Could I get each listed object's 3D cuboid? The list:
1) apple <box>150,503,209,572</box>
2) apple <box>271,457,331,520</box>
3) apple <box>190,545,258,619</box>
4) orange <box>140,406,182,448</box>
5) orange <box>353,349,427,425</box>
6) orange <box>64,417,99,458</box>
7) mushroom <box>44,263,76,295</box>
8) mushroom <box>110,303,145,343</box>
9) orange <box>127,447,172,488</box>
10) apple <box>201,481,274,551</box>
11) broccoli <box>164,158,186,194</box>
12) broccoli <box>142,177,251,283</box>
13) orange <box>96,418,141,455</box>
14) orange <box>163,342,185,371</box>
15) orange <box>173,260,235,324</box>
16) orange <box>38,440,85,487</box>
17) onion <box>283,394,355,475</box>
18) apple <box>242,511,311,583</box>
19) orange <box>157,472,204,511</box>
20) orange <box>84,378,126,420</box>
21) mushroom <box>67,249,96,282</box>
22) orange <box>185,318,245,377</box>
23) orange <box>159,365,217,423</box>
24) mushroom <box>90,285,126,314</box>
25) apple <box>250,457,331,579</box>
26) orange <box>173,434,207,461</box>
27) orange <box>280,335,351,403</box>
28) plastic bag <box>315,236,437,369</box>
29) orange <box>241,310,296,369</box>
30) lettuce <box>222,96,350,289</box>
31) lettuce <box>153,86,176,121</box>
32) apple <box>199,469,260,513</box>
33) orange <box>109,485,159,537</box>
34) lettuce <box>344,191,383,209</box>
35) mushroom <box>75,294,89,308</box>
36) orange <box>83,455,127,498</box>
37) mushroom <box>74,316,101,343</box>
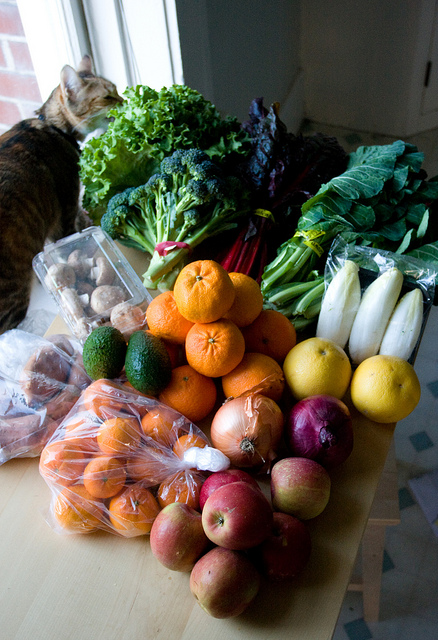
[{"bbox_3d":[-0.047,0.268,0.632,0.076,0.075,0.071,7,-3,-13],"label":"apple"},{"bbox_3d":[0.105,0.220,0.666,0.077,0.092,0.068,-9,35,-1],"label":"apple"},{"bbox_3d":[0.004,0.284,0.583,0.063,0.064,0.074,34,60,-2],"label":"apple"},{"bbox_3d":[-0.073,0.150,0.731,0.054,0.064,0.053,-1,47,4],"label":"orange"},{"bbox_3d":[0.247,0.102,0.779,0.110,0.102,0.102,0,16,-9],"label":"orange"},{"bbox_3d":[-0.183,0.153,0.693,0.048,0.047,0.056,2,53,-18],"label":"orange"},{"bbox_3d":[-0.286,-0.077,0.932,0.053,0.035,0.064,-29,40,-27],"label":"mushroom"},{"bbox_3d":[-0.152,0.000,0.850,0.050,0.036,0.064,0,70,6],"label":"mushroom"},{"bbox_3d":[-0.093,0.194,0.690,0.056,0.031,0.049,20,67,-12],"label":"orange"},{"bbox_3d":[0.023,0.221,0.599,0.065,0.076,0.064,16,3,5],"label":"apple"},{"bbox_3d":[-0.083,-0.272,0.975,0.030,0.064,0.032,16,42,31],"label":"broccoli"},{"bbox_3d":[-0.030,-0.185,1.023,0.123,0.095,0.244,17,57,46],"label":"broccoli"},{"bbox_3d":[-0.141,0.164,0.720,0.049,0.045,0.054,13,46,-5],"label":"orange"},{"bbox_3d":[-0.080,0.058,0.830,0.035,0.036,0.042,-15,67,32],"label":"orange"},{"bbox_3d":[-0.023,-0.044,0.746,0.096,0.088,0.093,-10,20,-29],"label":"orange"},{"bbox_3d":[-0.207,0.190,0.675,0.063,0.059,0.063,7,59,-14],"label":"orange"},{"bbox_3d":[0.135,0.154,0.702,0.090,0.082,0.072,-4,35,7],"label":"onion"},{"bbox_3d":[0.073,0.279,0.628,0.078,0.075,0.079,-7,25,2],"label":"apple"},{"bbox_3d":[-0.051,0.227,0.677,0.046,0.046,0.045,3,70,-8],"label":"orange"},{"bbox_3d":[-0.169,0.115,0.747,0.053,0.049,0.052,-5,78,-20],"label":"orange"},{"bbox_3d":[-0.255,-0.104,0.951,0.021,0.057,0.056,-32,65,20],"label":"mushroom"},{"bbox_3d":[-0.007,0.038,0.774,0.081,0.079,0.080,27,83,11],"label":"orange"},{"bbox_3d":[-0.047,0.107,0.752,0.082,0.078,0.079,-2,42,-5],"label":"orange"},{"bbox_3d":[-0.196,-0.039,0.892,0.052,0.026,0.051,-4,42,1],"label":"mushroom"},{"bbox_3d":[0.096,0.236,0.636,0.058,0.081,0.140,33,49,-27],"label":"apple"},{"bbox_3d":[-0.039,0.172,0.708,0.035,0.042,0.035,0,8,-6],"label":"orange"},{"bbox_3d":[0.162,0.083,0.772,0.075,0.071,0.075,2,13,25],"label":"orange"},{"bbox_3d":[0.262,-0.028,0.856,0.186,0.161,0.190,4,37,17],"label":"plastic bag"},{"bbox_3d":[0.082,0.024,0.861,0.086,0.085,0.084,-14,26,4],"label":"orange"},{"bbox_3d":[0.104,-0.269,1.173,0.129,0.461,0.260,30,39,-4],"label":"lettuce"},{"bbox_3d":[-0.110,-0.437,1.041,0.041,0.049,0.096,-3,35,7],"label":"lettuce"},{"bbox_3d":[0.019,0.204,0.649,0.057,0.057,0.055,5,44,-4],"label":"apple"},{"bbox_3d":[-0.106,0.244,0.662,0.062,0.059,0.060,8,55,-4],"label":"orange"},{"bbox_3d":[0.284,-0.223,0.967,0.073,0.023,0.030,-24,38,-22],"label":"lettuce"},{"bbox_3d":[-0.242,-0.035,0.909,0.023,0.019,0.018,-11,76,33],"label":"mushroom"},{"bbox_3d":[-0.148,0.200,0.661,0.053,0.053,0.052,3,76,8],"label":"orange"},{"bbox_3d":[-0.223,0.013,0.874,0.038,0.042,0.043,2,44,-12],"label":"mushroom"}]
